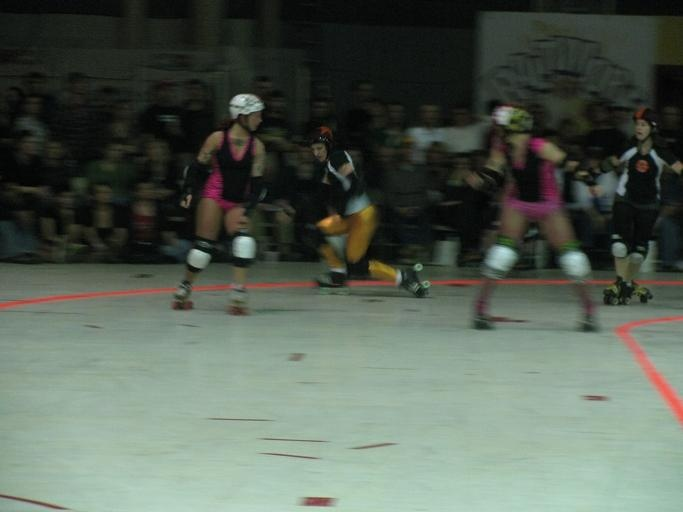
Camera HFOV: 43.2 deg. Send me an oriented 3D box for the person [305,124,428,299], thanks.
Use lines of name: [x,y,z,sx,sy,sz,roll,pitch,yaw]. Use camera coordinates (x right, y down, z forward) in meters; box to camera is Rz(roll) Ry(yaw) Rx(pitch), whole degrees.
person: [0.178,-0.390,7.890,0.673,1.525,1.117,-6,11,-38]

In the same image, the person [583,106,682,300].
person: [2.611,-0.457,7.705,0.789,1.630,0.647,5,13,20]

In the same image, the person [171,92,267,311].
person: [-0.918,-0.475,6.921,0.776,1.770,0.633,-5,18,-10]

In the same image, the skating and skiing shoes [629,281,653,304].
skating and skiing shoes: [2.744,0.340,7.926,0.226,0.084,0.152,25,-2,-15]
